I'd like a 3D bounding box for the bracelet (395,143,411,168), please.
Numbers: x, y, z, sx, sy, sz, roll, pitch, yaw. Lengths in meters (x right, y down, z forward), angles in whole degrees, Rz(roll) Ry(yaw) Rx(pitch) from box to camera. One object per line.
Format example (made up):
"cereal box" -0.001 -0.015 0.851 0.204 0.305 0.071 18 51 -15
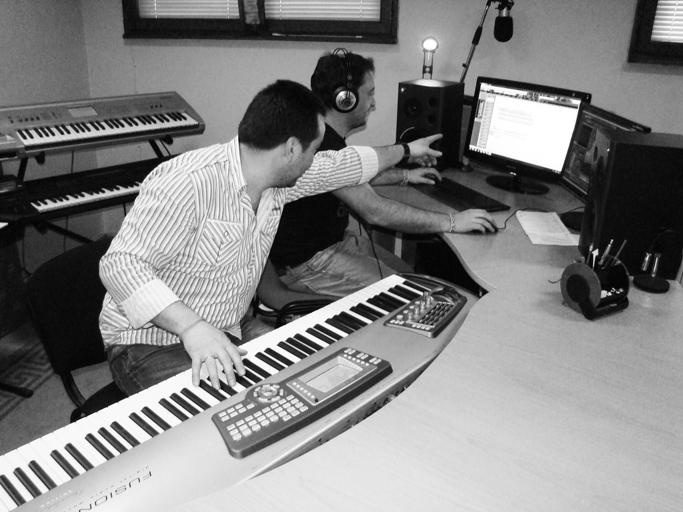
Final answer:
"bracelet" 0.312 -0.526 2.586 0.085 0.151 0.143 7 18 5

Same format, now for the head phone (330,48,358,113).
"head phone" 0.011 -0.838 2.432 0.101 0.275 0.223 -5 20 -8

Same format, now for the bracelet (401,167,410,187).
"bracelet" 0.341 -0.436 2.687 0.024 0.075 0.050 2 -1 26

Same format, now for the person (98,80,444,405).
"person" -0.170 -0.037 2.049 0.914 1.469 1.177 9 29 5

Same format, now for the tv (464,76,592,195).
"tv" 0.952 -0.606 2.582 0.205 0.485 0.543 -27 44 -32
